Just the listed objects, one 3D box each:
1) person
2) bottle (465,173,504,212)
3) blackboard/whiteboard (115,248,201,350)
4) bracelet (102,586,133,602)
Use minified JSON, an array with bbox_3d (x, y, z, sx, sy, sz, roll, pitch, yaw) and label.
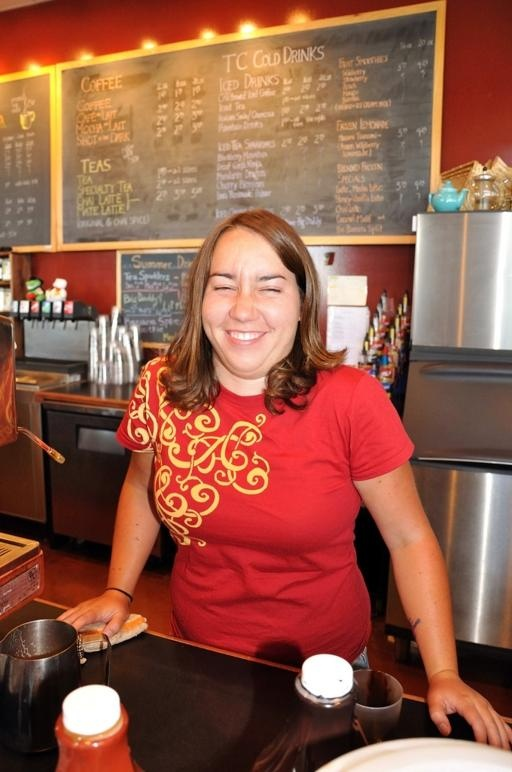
[{"bbox_3d":[0.024,0.100,0.944,0.763,0.767,0.423,5,8,29],"label":"person"},{"bbox_3d":[0.776,-0.660,2.058,0.117,0.166,0.216,4,8,21],"label":"bottle"},{"bbox_3d":[-0.559,-0.458,3.326,0.037,0.612,0.636,16,18,24],"label":"blackboard/whiteboard"},{"bbox_3d":[-0.225,0.339,1.005,0.033,0.008,0.034,14,-1,-25],"label":"bracelet"}]
